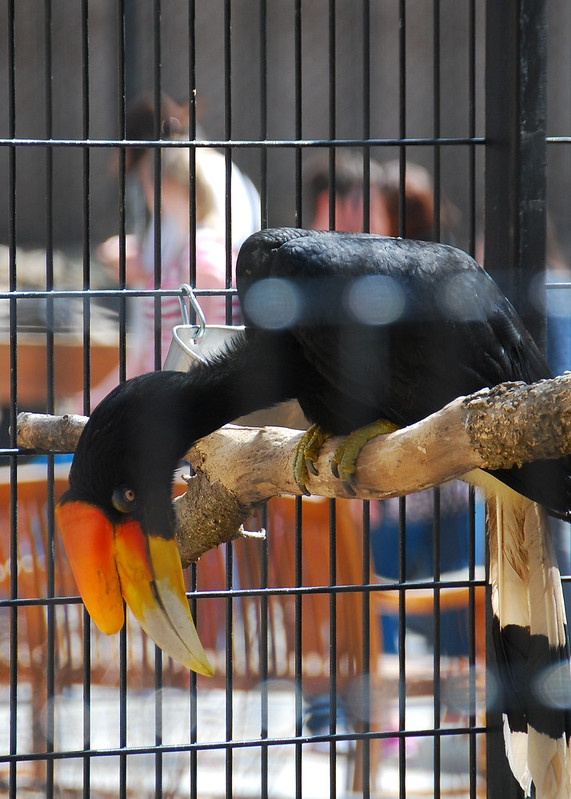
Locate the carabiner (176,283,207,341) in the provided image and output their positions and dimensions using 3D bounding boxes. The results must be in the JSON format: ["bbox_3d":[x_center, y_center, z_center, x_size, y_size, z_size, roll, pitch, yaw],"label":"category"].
[{"bbox_3d":[-0.248,-0.224,6.211,0.033,0.152,0.097,-19,37,-25],"label":"carabiner"}]
